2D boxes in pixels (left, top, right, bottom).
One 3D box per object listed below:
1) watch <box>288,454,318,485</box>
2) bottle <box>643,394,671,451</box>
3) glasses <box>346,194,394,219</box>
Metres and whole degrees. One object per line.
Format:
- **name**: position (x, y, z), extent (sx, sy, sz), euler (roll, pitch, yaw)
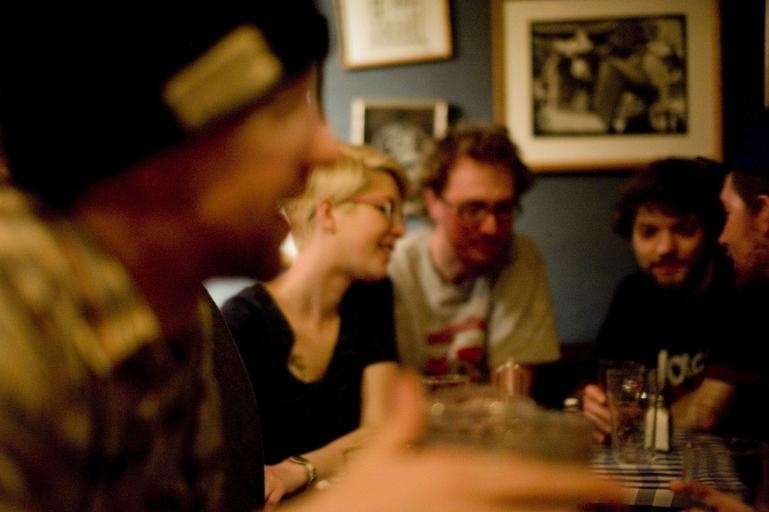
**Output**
- **watch**: position (-0.218, 0.606, 2.068), extent (0.084, 0.030, 0.063), euler (30, -12, 11)
- **bottle**: position (0.792, 0.479, 2.089), extent (0.068, 0.151, 0.095), euler (0, 9, 28)
- **glasses**: position (-0.036, -0.153, 2.127), extent (0.096, 0.037, 0.070), euler (23, 16, 3)
